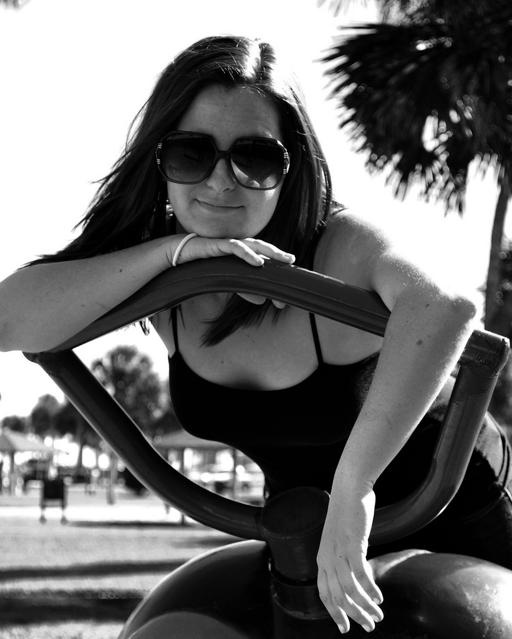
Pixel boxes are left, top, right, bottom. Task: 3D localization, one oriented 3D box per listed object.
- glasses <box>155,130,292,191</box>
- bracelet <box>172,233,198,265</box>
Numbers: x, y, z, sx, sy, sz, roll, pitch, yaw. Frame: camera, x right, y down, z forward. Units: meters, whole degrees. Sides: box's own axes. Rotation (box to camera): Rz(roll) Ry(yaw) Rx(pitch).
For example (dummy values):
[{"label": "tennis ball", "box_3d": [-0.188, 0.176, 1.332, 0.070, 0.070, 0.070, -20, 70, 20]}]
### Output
[{"label": "glasses", "box_3d": [-0.045, -0.229, 1.420, 0.213, 0.088, 0.115, 4, -12, -9]}, {"label": "bracelet", "box_3d": [-0.100, -0.098, 1.310, 0.007, 0.040, 0.039, 21, 19, 4]}]
